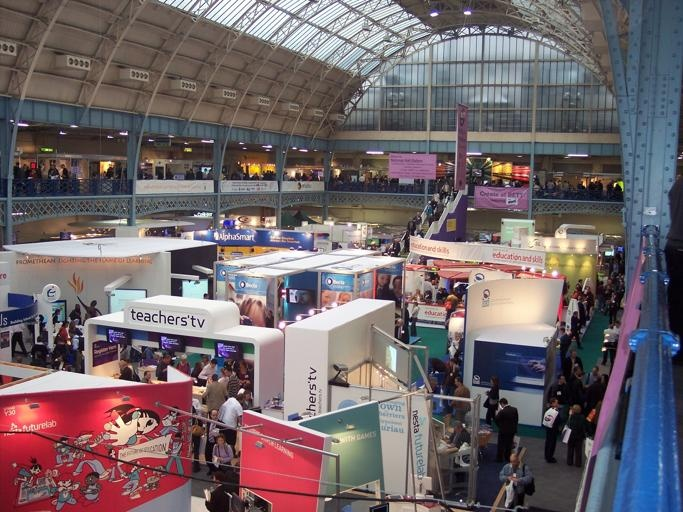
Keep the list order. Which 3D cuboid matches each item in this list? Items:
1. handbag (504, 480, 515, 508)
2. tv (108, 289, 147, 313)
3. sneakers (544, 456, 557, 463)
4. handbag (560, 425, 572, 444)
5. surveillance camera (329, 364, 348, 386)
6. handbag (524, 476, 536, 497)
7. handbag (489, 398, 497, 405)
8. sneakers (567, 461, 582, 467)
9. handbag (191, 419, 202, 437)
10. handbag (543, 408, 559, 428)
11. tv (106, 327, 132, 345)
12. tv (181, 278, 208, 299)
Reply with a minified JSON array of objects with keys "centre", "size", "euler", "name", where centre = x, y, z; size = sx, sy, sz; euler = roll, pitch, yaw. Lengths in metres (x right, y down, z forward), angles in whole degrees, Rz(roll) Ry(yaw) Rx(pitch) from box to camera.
[{"centre":[2.489,3.490,8.994],"size":[0.130,0.413,0.307],"euler":[2,1,13],"name":"handbag"},{"centre":[-5.461,1.154,15.360],"size":[0.838,0.672,0.120],"euler":[1,4,-8],"name":"tv"},{"centre":[3.893,3.789,11.369],"size":[0.234,0.110,0.090],"euler":[-5,11,-21],"name":"sneakers"},{"centre":[4.002,3.211,10.827],"size":[0.156,0.332,0.444],"euler":[2,1,21],"name":"handbag"},{"centre":[-0.038,1.806,9.234],"size":[0.284,0.258,0.341],"euler":[1,1,-4],"name":"surveillance camera"},{"centre":[2.850,3.504,9.230],"size":[0.096,0.298,0.527],"euler":[2,1,25],"name":"handbag"},{"centre":[3.055,2.954,12.311],"size":[0.139,0.150,0.095],"euler":[2,0,20],"name":"handbag"},{"centre":[4.261,3.801,11.150],"size":[0.235,0.091,0.173],"euler":[3,2,33],"name":"sneakers"},{"centre":[-2.411,2.920,10.234],"size":[0.185,0.175,0.383],"euler":[1,2,-12],"name":"handbag"},{"centre":[3.758,2.929,10.944],"size":[0.246,0.383,0.309],"euler":[2,1,21],"name":"handbag"},{"centre":[-4.197,1.497,11.694],"size":[0.501,0.311,0.356],"euler":[6,3,13],"name":"tv"},{"centre":[-4.462,1.004,18.587],"size":[0.523,0.589,0.041],"euler":[-8,-3,5],"name":"tv"}]
